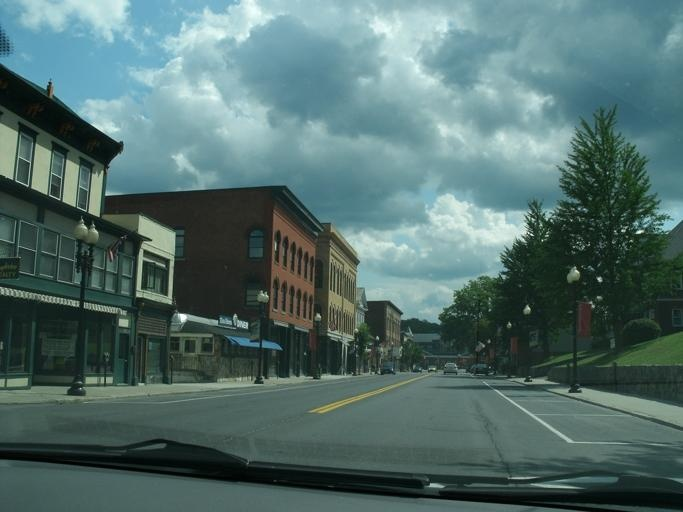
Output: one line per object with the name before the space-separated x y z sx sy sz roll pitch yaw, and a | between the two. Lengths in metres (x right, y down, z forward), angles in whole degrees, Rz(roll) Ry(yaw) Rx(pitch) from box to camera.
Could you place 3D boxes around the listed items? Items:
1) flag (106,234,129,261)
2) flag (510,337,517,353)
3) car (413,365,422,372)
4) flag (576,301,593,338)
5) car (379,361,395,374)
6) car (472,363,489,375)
flag | -10.047 -0.423 37.027 0.822 0.169 2.068 26 24 5
flag | 12.890 6.593 62.045 0.217 1.782 1.502 -1 0 28
car | 11.866 17.499 129.775 1.259 1.000 2.945 -3 -20 7
flag | 11.496 2.931 39.334 0.296 2.365 1.858 -1 -5 38
car | 5.082 12.589 93.184 1.200 1.234 2.409 -4 -21 6
car | 13.859 11.088 82.053 1.393 1.173 2.421 -2 -17 2
